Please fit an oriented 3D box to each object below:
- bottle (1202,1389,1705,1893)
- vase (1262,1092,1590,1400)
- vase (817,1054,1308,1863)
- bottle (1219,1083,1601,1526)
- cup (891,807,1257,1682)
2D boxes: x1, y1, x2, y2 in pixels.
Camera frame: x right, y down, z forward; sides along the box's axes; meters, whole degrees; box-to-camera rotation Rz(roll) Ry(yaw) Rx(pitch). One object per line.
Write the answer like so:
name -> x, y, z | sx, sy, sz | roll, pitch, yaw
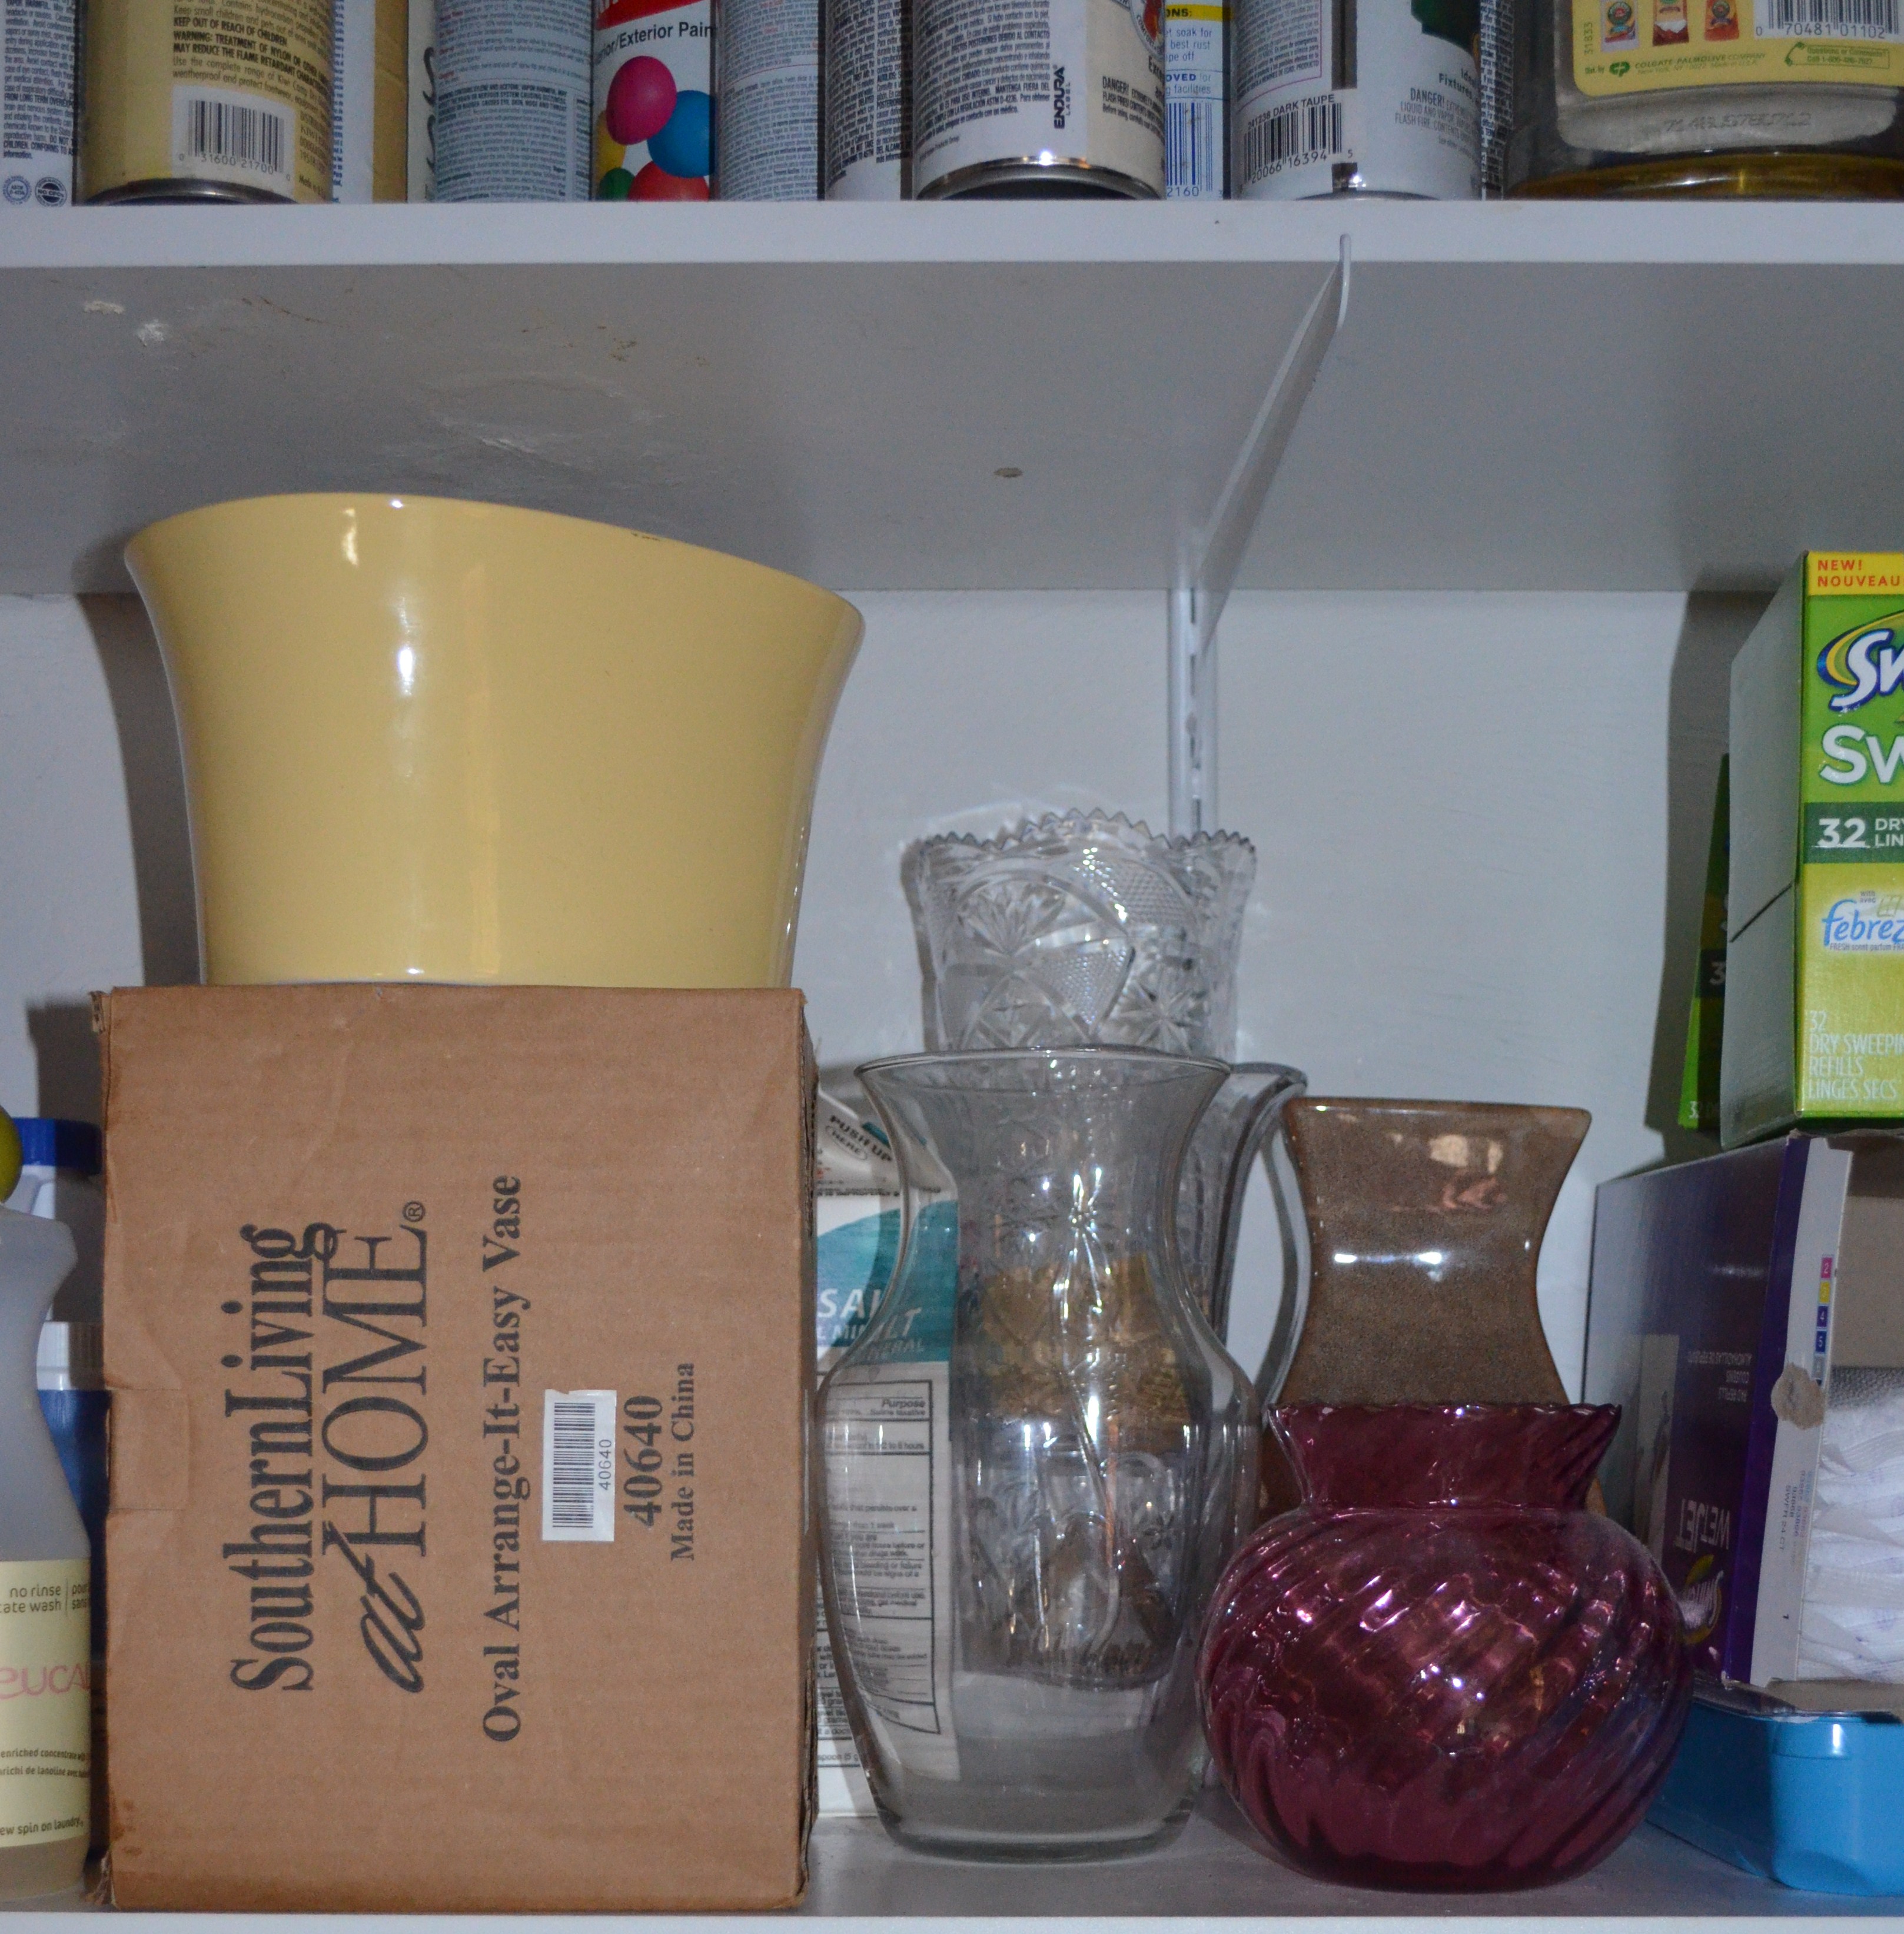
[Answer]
bottle -> 0.174, 0.236, 1.307 | 0.136, 0.156, 0.157 | 1, -14, -3
vase -> 0.184, 0.109, 1.508 | 0.105, 0.146, 0.111 | 1, -16, 0
vase -> 0.030, 0.167, 1.389 | 0.159, 0.280, 0.127 | -2, 6, 5
bottle -> 0.171, 0.132, 1.532 | 0.126, 0.244, 0.140 | 3, -17, -4
cup -> 0.038, 0.070, 1.579 | 0.151, 0.249, 0.161 | 0, -21, 0
